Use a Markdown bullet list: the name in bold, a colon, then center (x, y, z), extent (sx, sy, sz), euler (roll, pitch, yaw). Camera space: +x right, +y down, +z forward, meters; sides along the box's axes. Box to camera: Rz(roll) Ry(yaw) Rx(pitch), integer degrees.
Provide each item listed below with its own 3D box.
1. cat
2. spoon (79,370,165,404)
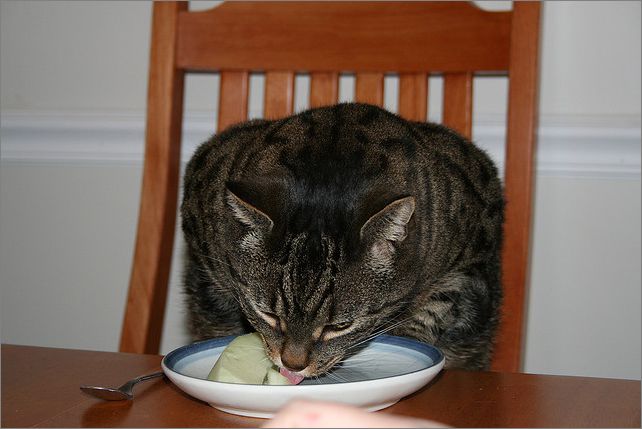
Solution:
- **cat**: center (0.080, 0.023, 1.472), extent (0.695, 0.756, 0.583), euler (3, -40, 5)
- **spoon**: center (-0.354, 0.305, 1.050), extent (0.046, 0.031, 0.181), euler (1, 9, 28)
